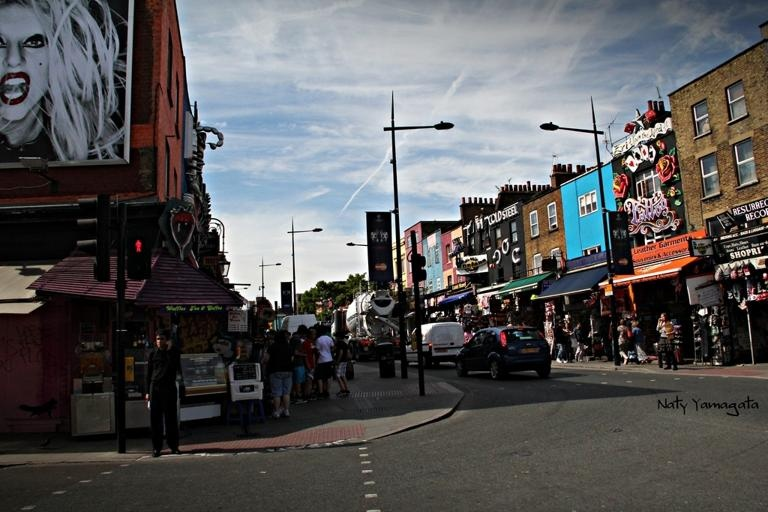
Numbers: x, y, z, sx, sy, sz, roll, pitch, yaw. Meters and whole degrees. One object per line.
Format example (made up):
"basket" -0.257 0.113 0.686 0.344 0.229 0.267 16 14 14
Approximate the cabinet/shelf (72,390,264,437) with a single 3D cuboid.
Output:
"cabinet/shelf" -6.589 4.330 21.401 2.249 1.111 3.152 -5 -7 -1

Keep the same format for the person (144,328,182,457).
"person" -5.275 3.282 18.628 0.997 2.970 0.802 -9 -16 12

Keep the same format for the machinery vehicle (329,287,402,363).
"machinery vehicle" -0.957 4.054 43.706 3.172 3.292 8.500 -3 -10 -14

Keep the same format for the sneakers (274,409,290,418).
"sneakers" -2.973 4.590 22.337 0.477 0.205 0.190 -1 -5 13

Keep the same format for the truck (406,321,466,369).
"truck" 2.407 4.052 36.084 1.751 1.461 2.965 0 -3 -16

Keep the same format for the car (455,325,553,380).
"car" 4.127 3.759 29.273 1.785 1.956 4.499 4 -12 -35

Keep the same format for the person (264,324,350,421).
"person" -2.775 3.480 23.009 1.030 2.702 1.348 1 -3 -35
